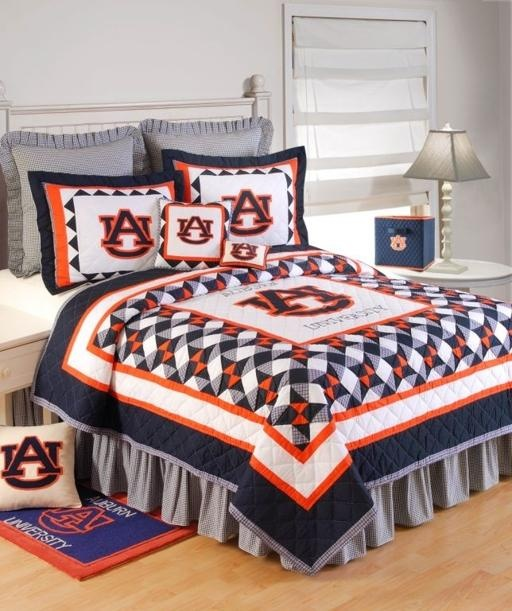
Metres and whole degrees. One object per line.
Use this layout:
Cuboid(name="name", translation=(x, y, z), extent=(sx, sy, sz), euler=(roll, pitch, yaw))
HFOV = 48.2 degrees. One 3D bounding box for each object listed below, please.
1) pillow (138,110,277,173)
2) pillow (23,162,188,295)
Cuboid(name="pillow", translation=(-0.246, -0.758, 2.672), extent=(0.627, 0.093, 0.420), euler=(-6, 45, -13))
Cuboid(name="pillow", translation=(-0.597, -0.274, 2.124), extent=(0.668, 0.427, 0.173), euler=(-7, 0, -27))
